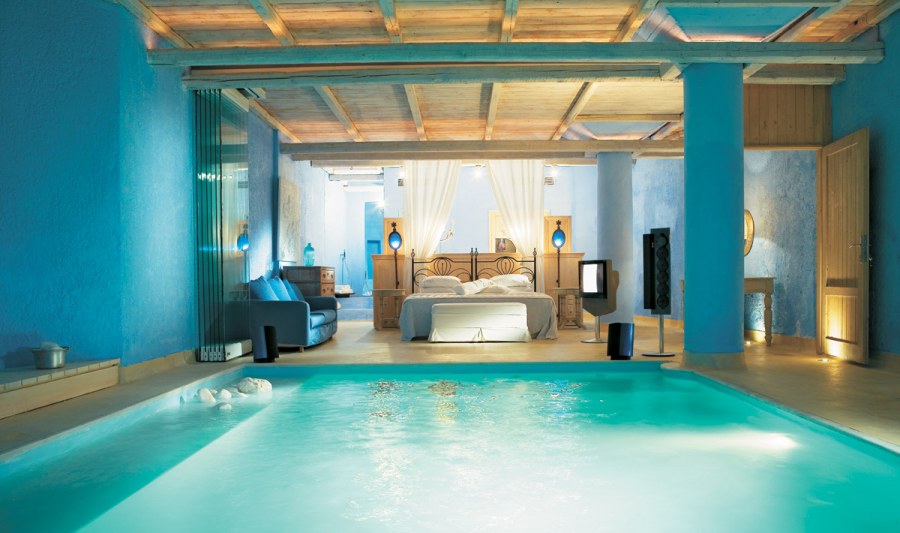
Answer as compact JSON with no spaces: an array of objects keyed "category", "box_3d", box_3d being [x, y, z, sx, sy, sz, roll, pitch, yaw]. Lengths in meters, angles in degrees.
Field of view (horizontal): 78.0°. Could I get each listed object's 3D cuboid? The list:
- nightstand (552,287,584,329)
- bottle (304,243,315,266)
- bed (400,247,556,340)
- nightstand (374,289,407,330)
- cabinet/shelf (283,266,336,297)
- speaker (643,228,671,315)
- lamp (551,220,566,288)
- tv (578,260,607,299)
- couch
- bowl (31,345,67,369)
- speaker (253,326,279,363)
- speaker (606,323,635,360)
[{"category":"nightstand","box_3d":[2.570,0.868,11.684,0.858,0.943,0.785,-1,1,5]},{"category":"bottle","box_3d":[-3.114,-0.273,12.188,0.202,0.389,0.559,-2,13,-10]},{"category":"bed","box_3d":[0.473,0.484,11.308,2.342,1.234,2.071,-1,-6,3]},{"category":"nightstand","box_3d":[-1.159,0.853,11.821,0.843,0.921,0.651,-4,-4,36]},{"category":"cabinet/shelf","box_3d":[-2.762,0.283,11.120,0.693,0.755,0.911,-3,-2,21]},{"category":"speaker","box_3d":[3.111,0.083,8.531,0.423,1.330,0.531,4,15,14]},{"category":"lamp","box_3d":[2.377,-0.089,12.514,0.432,1.789,0.391,-1,4,2]},{"category":"tv","box_3d":[2.241,0.209,9.587,0.765,0.606,0.407,1,-2,-40]},{"category":"couch","box_3d":[-2.691,0.780,9.666,1.053,1.054,1.799,2,0,3]},{"category":"bowl","box_3d":[-4.674,1.056,6.491,0.354,0.211,0.274,-2,-2,15]},{"category":"speaker","box_3d":[-2.693,1.145,8.077,0.314,0.503,0.252,-6,15,-22]},{"category":"speaker","box_3d":[2.528,1.106,8.305,0.481,0.441,0.443,8,-10,-18]}]
